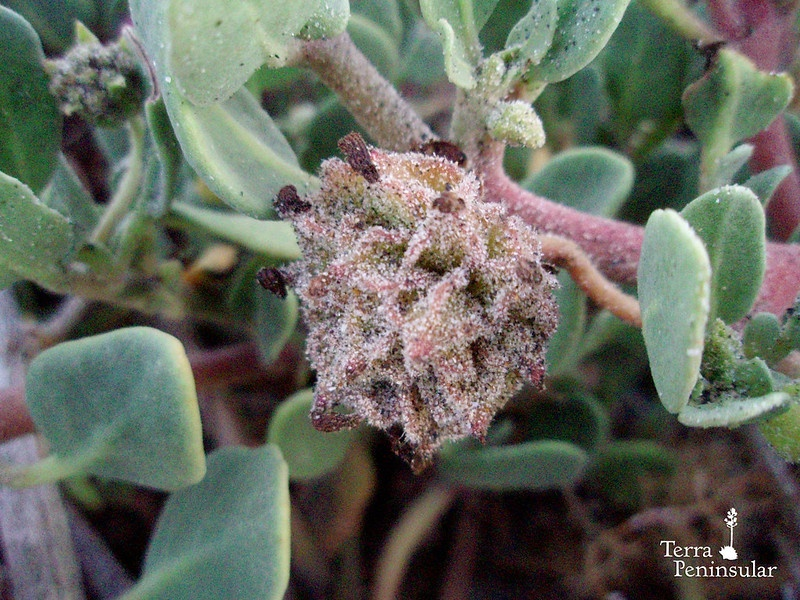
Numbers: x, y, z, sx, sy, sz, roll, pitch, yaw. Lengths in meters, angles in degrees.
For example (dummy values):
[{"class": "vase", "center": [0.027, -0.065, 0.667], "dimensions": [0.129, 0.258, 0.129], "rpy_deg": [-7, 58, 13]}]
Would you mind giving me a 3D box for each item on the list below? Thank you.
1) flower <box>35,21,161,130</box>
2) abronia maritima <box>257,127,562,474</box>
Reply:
[{"class": "flower", "center": [-0.474, -0.359, 1.314], "dimensions": [0.216, 0.158, 0.148], "rpy_deg": [4, 72, 3]}, {"class": "abronia maritima", "center": [0.025, -0.008, 1.239], "dimensions": [0.377, 0.394, 0.409], "rpy_deg": [-36, 74, -3]}]
